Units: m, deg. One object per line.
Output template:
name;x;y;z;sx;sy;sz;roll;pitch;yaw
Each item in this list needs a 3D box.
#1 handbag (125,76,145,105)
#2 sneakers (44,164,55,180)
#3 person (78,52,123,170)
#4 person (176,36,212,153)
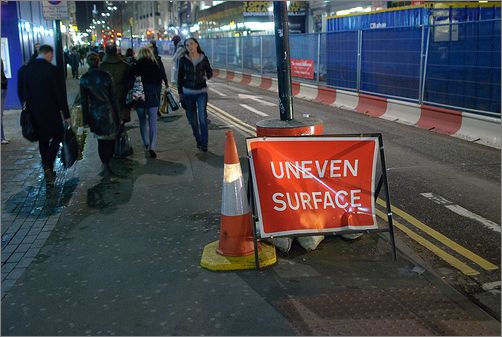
handbag;-2.776;-1.898;8.160;0.218;0.593;0.561;3;-19;-46
sneakers;-4.346;0.053;7.281;0.243;0.329;0.277;7;7;32
person;-3.309;-1.254;7.493;0.779;2.490;0.600;-8;20;-15
person;-1.406;-1.970;8.936;0.885;2.806;0.826;11;23;33
